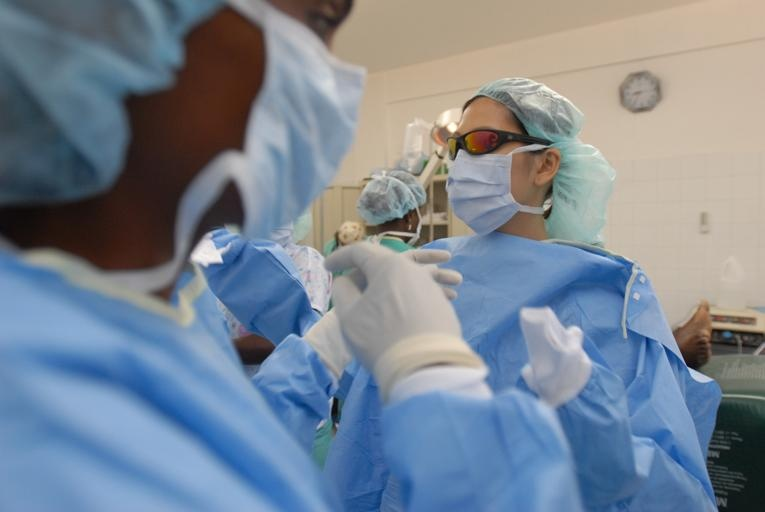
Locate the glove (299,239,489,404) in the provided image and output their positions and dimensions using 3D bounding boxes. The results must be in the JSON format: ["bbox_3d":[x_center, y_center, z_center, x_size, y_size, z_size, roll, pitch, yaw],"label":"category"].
[{"bbox_3d":[0.040,0.161,1.512,0.222,0.362,0.501,-15,51,-8],"label":"glove"}]

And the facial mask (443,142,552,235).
[{"bbox_3d":[0.361,-0.231,2.147,0.340,0.310,0.356,-1,9,-15],"label":"facial mask"}]
